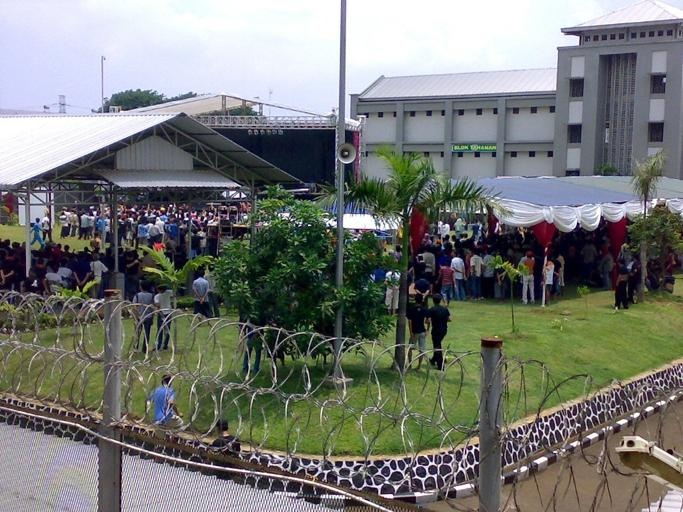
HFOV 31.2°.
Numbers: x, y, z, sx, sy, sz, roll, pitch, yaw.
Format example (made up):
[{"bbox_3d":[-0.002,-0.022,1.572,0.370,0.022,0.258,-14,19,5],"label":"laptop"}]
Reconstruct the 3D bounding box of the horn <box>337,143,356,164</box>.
[{"bbox_3d":[0.128,-2.406,28.697,0.383,0.472,0.447,1,4,-2],"label":"horn"}]

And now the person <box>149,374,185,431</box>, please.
[{"bbox_3d":[-3.491,2.851,24.263,0.678,0.963,2.244,0,3,-9],"label":"person"}]

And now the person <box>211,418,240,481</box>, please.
[{"bbox_3d":[-2.230,3.729,23.539,0.579,0.558,1.717,-2,-41,-4],"label":"person"}]
